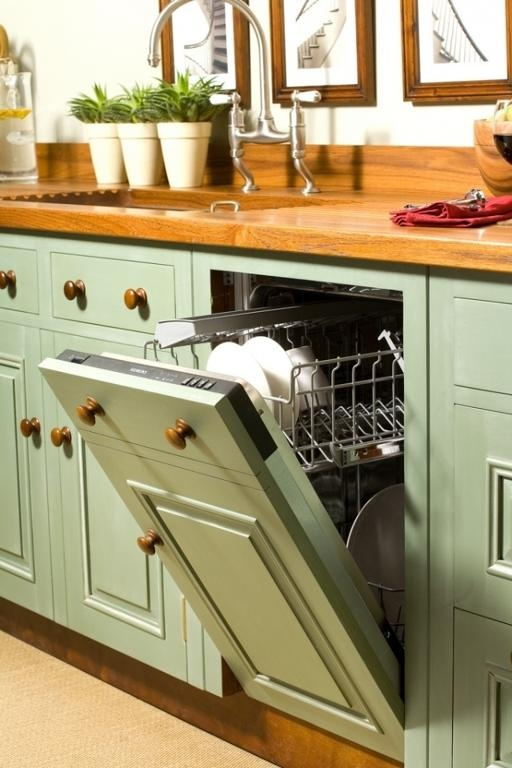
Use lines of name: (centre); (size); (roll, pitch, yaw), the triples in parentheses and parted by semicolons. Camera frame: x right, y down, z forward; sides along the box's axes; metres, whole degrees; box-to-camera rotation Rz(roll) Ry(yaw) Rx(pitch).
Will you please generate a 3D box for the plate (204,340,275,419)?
plate: (-0.028, -0.007, 0.984); (0.022, 0.104, 0.103); (-13, 38, -37)
